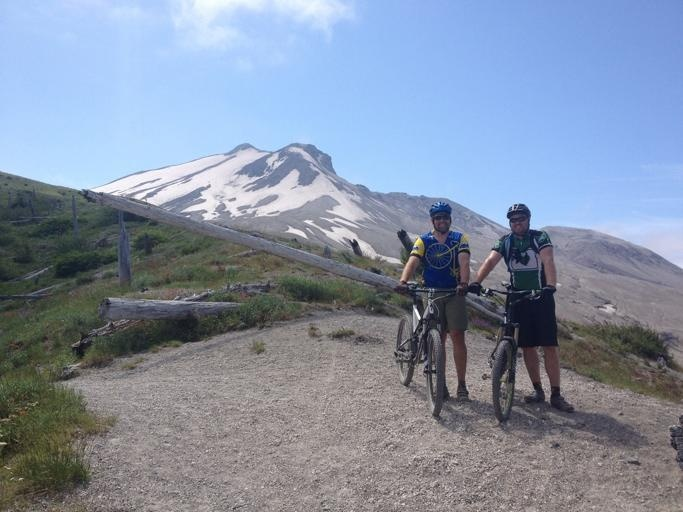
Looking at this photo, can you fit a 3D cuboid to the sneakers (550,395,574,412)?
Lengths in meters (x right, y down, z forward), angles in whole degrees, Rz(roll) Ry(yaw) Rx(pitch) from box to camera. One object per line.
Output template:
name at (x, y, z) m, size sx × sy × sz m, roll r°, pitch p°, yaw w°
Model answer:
sneakers at (3.488, 2.345, 7.975) m, size 0.170 × 0.169 × 0.369 m, roll 1°, pitch -4°, yaw -20°

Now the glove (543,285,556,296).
glove at (3.195, 0.518, 7.743) m, size 0.169 × 0.084 × 0.198 m, roll 27°, pitch -34°, yaw -18°

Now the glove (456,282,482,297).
glove at (2.018, 0.510, 7.813) m, size 0.297 × 0.222 × 0.501 m, roll 6°, pitch 9°, yaw 44°

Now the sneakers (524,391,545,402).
sneakers at (3.178, 2.321, 8.303) m, size 0.318 × 0.172 × 0.163 m, roll -2°, pitch -3°, yaw 29°
